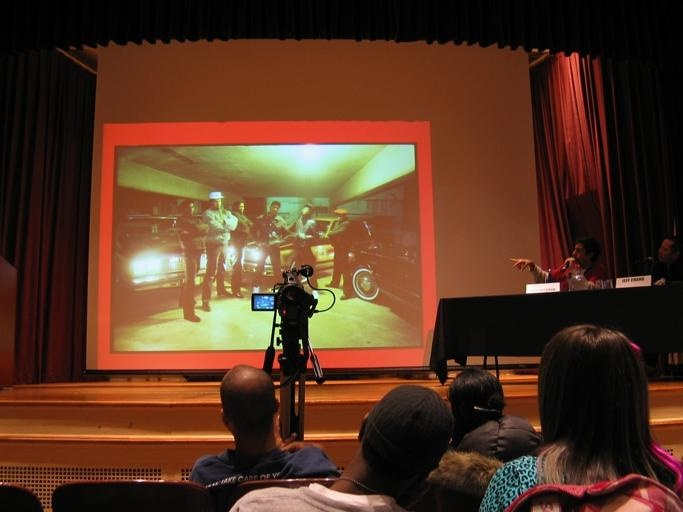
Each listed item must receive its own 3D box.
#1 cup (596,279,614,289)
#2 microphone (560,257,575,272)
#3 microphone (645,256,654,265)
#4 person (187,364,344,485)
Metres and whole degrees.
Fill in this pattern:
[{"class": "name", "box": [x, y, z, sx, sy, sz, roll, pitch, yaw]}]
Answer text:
[{"class": "cup", "box": [1.906, 0.205, 4.171, 0.109, 0.086, 0.088, 3, -8, 3]}, {"class": "microphone", "box": [2.084, 0.082, 5.341, 0.082, 0.137, 0.054, 34, 3, 6]}, {"class": "microphone", "box": [2.883, 0.047, 5.414, 0.042, 0.043, 0.203, 11, 17, 39]}, {"class": "person", "box": [-0.432, 0.938, 2.864, 0.775, 0.670, 0.460, -2, -11, -28]}]
